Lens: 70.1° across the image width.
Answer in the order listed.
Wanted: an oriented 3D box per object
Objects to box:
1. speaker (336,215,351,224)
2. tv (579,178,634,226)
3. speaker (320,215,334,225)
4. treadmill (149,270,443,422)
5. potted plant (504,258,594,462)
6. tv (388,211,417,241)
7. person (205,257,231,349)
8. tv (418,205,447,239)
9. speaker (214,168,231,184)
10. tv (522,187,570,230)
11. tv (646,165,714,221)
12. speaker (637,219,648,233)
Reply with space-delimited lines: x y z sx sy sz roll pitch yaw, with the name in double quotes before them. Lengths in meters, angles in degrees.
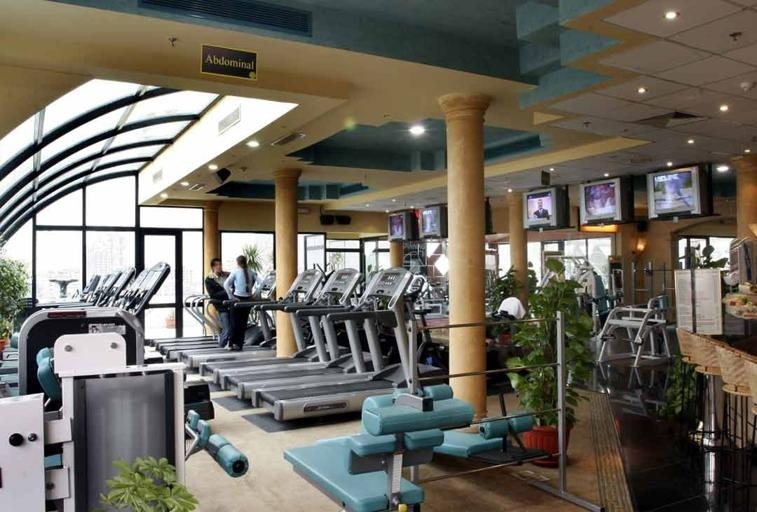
"speaker" -1.085 -1.039 15.508 0.365 0.189 0.254 0 -2 0
"tv" 4.083 -0.980 9.653 0.531 0.712 0.914 7 -10 -31
"speaker" -1.501 -1.016 15.180 0.473 0.266 0.286 2 -7 -20
"treadmill" -0.971 1.271 7.664 2.405 1.161 2.863 0 -1 -29
"potted plant" 1.620 0.948 5.123 0.778 2.091 0.878 2 2 -31
"tv" 0.572 -0.732 13.333 0.539 0.704 0.852 2 -3 -31
"person" -3.077 0.836 10.305 0.575 1.874 0.624 1 2 -15
"tv" 1.233 -0.765 12.341 0.493 0.686 0.838 4 -7 -27
"speaker" -2.910 -1.493 9.957 0.290 0.180 0.913 -2 2 -15
"tv" 3.240 -0.913 10.432 0.174 0.885 1.773 1 -2 -26
"tv" 4.752 -1.012 8.762 1.255 0.767 0.362 -1 2 -23
"speaker" 8.544 -0.948 17.486 0.349 0.359 0.185 -1 3 21
